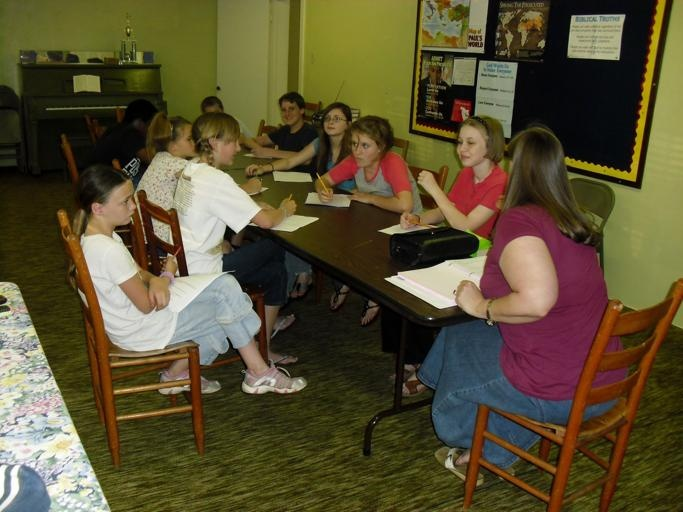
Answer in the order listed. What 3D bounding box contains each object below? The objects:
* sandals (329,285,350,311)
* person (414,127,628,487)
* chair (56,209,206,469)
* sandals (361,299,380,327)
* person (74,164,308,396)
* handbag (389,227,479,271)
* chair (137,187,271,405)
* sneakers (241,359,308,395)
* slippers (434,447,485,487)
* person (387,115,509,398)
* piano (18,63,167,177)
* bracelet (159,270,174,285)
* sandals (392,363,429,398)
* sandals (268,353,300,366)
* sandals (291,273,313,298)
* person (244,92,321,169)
[{"bbox_3d":[-0.028,0.281,3.480,0.085,0.217,0.060,36,35,16],"label":"sandals"},{"bbox_3d":[0.597,0.226,1.872,0.609,1.323,0.355,12,23,27],"label":"person"},{"bbox_3d":[-0.855,0.365,2.177,0.536,1.138,0.621,-9,32,-19],"label":"chair"},{"bbox_3d":[0.178,0.364,3.284,0.079,0.212,0.051,14,1,10],"label":"sandals"},{"bbox_3d":[-0.658,0.160,2.291,0.931,1.051,0.465,-6,18,-26],"label":"person"},{"bbox_3d":[0.405,-0.054,2.262,0.284,0.100,0.195,-9,16,-29],"label":"handbag"},{"bbox_3d":[-0.646,0.108,2.490,0.638,0.841,0.637,5,-16,-41],"label":"chair"},{"bbox_3d":[-0.335,0.617,2.572,0.372,0.171,0.135,-1,13,-19],"label":"sneakers"},{"bbox_3d":[0.498,0.886,2.205,0.089,0.062,0.227,-26,40,-26],"label":"slippers"},{"bbox_3d":[0.603,-0.120,2.930,0.623,1.230,0.452,-13,29,-21],"label":"person"},{"bbox_3d":[-3.202,-1.870,6.801,1.653,1.186,0.602,-17,36,-42],"label":"piano"},{"bbox_3d":[-0.750,0.092,2.219,0.052,0.018,0.053,22,18,20],"label":"bracelet"},{"bbox_3d":[0.356,0.657,2.668,0.223,0.055,0.160,-10,19,-34],"label":"sandals"},{"bbox_3d":[-0.326,0.578,2.930,0.172,0.046,0.065,-6,16,-22],"label":"sandals"},{"bbox_3d":[-0.274,0.211,3.555,0.086,0.174,0.244,7,-14,-6],"label":"sandals"},{"bbox_3d":[-0.532,-1.102,4.452,0.536,0.532,0.770,14,25,20],"label":"person"}]
